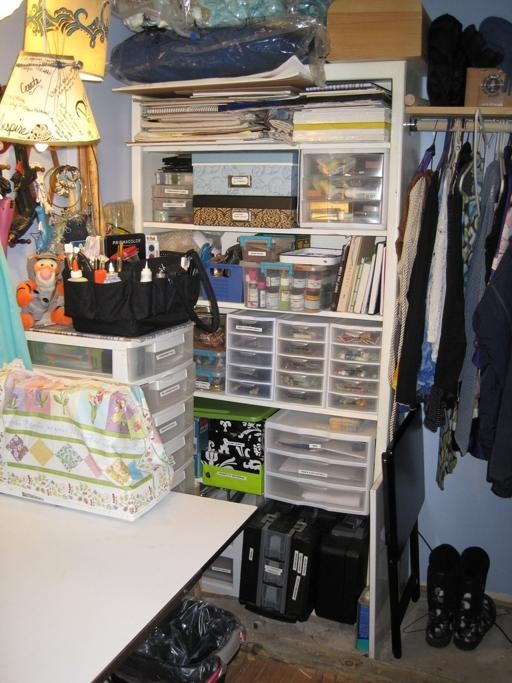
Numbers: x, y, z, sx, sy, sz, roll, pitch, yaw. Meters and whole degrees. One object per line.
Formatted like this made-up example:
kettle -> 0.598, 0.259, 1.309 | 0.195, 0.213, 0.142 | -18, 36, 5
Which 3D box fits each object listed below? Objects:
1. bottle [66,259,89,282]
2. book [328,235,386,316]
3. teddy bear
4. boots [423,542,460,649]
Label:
bottle -> -0.508, -0.201, 1.535 | 0.061, 0.068, 0.062 | -6, 11, -17
book -> 0.379, -0.239, 1.983 | 0.176, 0.285, 0.101 | 5, 7, 12
teddy bear -> -0.628, -0.145, 1.628 | 0.178, 0.233, 0.134 | -13, 35, -43
boots -> 0.748, 1.053, 2.279 | 0.126, 0.414, 0.166 | 1, -9, 34
